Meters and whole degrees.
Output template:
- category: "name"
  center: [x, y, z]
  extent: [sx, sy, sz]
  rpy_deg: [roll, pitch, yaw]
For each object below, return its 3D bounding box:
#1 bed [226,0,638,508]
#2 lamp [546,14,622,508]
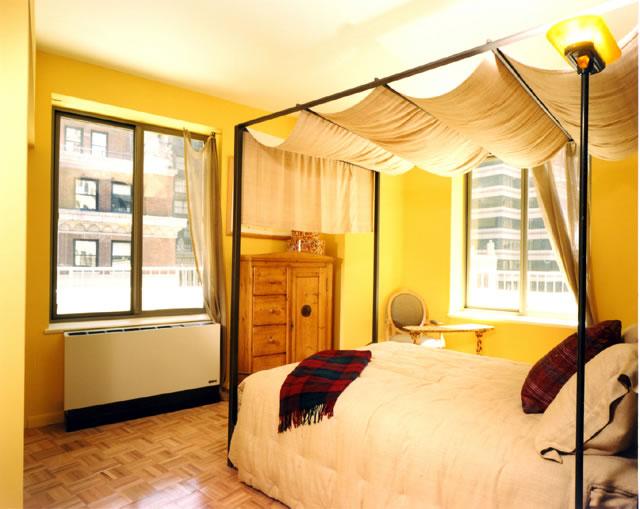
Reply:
- category: "bed"
  center: [0.763, -0.073, 3.837]
  extent: [1.782, 2.354, 2.967]
  rpy_deg: [-3, 4, -38]
- category: "lamp"
  center: [1.258, -0.021, 2.632]
  extent: [0.328, 2.268, 0.988]
  rpy_deg: [5, 14, 28]
